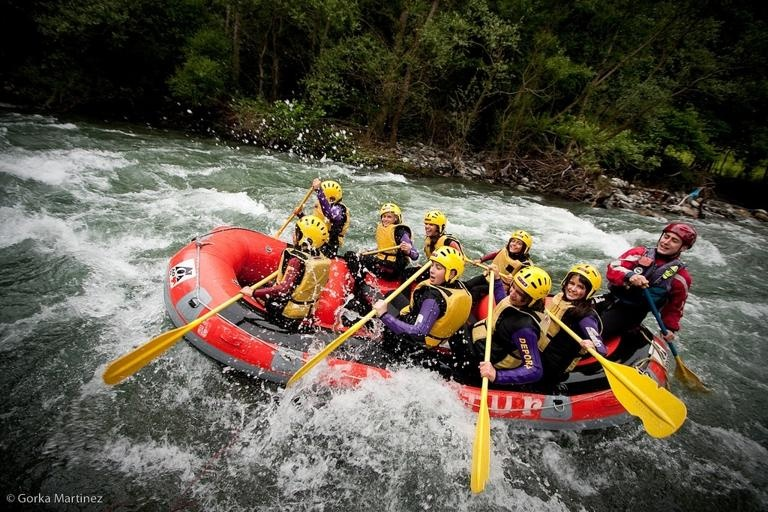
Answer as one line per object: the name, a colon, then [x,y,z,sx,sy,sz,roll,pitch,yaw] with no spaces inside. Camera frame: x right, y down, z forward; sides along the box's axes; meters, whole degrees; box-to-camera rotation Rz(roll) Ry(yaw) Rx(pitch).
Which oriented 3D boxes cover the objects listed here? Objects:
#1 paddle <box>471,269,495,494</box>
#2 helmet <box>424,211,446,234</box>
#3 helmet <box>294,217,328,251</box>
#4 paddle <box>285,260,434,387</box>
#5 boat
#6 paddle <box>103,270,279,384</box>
paddle: [1.828,2.161,9.145,0.433,0.388,3.666,9,69,-1]
helmet: [1.121,-0.736,11.150,0.576,0.503,0.425,0,4,-19]
helmet: [-1.364,-0.406,9.561,0.604,0.582,0.349,9,27,-8]
paddle: [-0.517,1.365,9.617,3.643,0.284,0.168,-38,28,-20]
boat: [0.222,1.895,9.830,8.906,1.422,4.185,15,35,-8]
paddle: [-3.577,1.415,9.624,3.409,0.288,0.360,-32,75,-17]
